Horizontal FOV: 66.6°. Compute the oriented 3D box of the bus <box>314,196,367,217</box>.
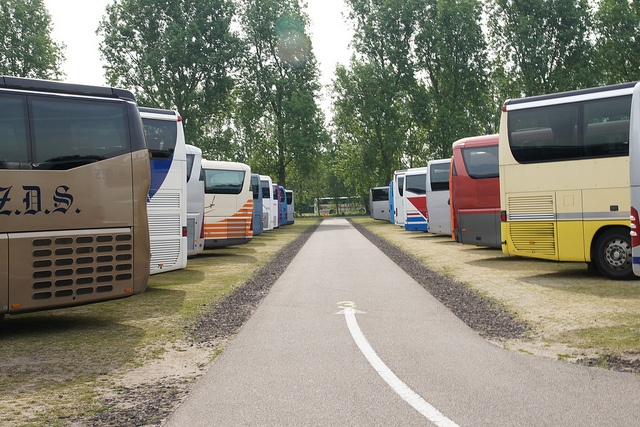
[{"bbox_3d":[2.815,-1.773,109.572,15.046,5.028,4.318,-1,1,25],"label":"bus"}]

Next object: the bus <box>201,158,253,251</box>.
[{"bbox_3d":[-4.069,-0.374,21.357,3.592,3.520,1.389,2,0,26],"label":"bus"}]

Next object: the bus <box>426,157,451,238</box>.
[{"bbox_3d":[6.297,-0.926,25.938,1.209,3.868,2.027,0,4,13],"label":"bus"}]

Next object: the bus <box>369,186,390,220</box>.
[{"bbox_3d":[6.693,0.427,53.420,2.096,4.011,7.420,-2,-21,8],"label":"bus"}]

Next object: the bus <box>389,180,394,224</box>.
[{"bbox_3d":[5.766,-0.888,39.091,0.182,3.357,4.701,0,4,9],"label":"bus"}]

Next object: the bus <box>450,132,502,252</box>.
[{"bbox_3d":[5.993,-0.910,18.860,1.763,4.166,2.092,0,4,15],"label":"bus"}]
